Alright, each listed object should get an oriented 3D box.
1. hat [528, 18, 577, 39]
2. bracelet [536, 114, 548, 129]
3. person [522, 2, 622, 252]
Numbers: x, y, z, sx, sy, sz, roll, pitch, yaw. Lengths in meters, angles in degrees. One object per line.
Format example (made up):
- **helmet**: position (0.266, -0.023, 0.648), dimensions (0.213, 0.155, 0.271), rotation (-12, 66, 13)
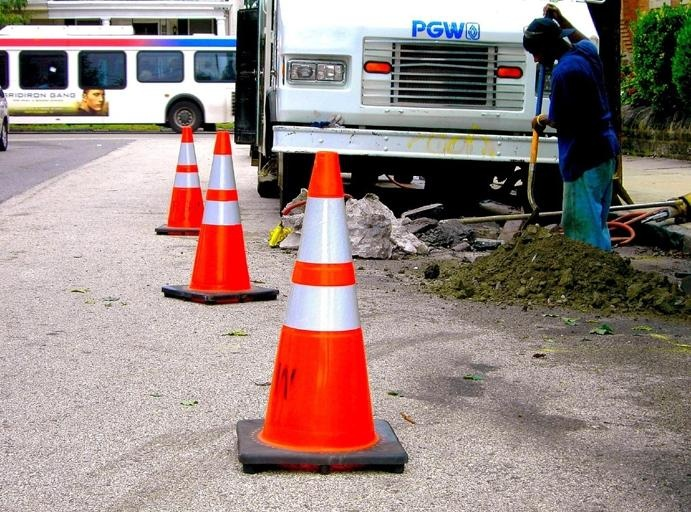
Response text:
- **hat**: position (1.670, -1.858, 5.899), dimensions (0.343, 0.097, 0.180), rotation (-4, 24, 2)
- **bracelet**: position (1.663, -1.133, 6.096), dimensions (0.106, 0.112, 0.052), rotation (5, 50, 27)
- **person**: position (1.880, -1.018, 6.035), dimensions (0.820, 1.942, 0.666), rotation (8, 16, 23)
